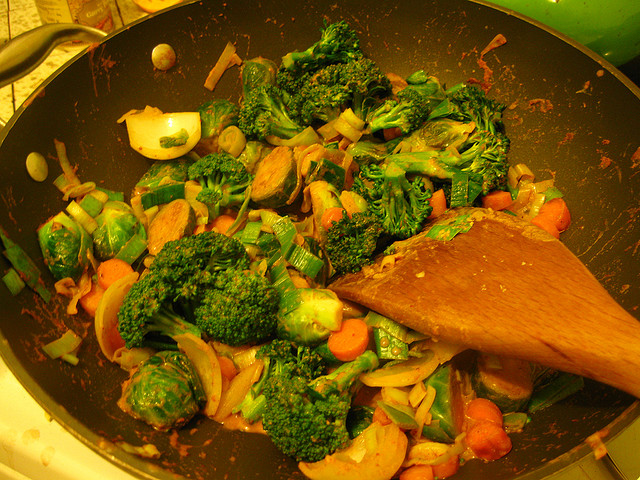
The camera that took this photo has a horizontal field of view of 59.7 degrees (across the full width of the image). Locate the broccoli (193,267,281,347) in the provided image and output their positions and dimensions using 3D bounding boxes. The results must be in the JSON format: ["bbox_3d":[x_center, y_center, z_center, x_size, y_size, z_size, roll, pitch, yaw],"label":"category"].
[{"bbox_3d":[-0.394,0.300,2.540,0.317,0.125,0.357,-1,95,-6],"label":"broccoli"}]

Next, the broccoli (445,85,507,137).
[{"bbox_3d":[0.797,-0.667,2.886,0.253,0.152,0.264,-32,89,10],"label":"broccoli"}]

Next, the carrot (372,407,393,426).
[{"bbox_3d":[0.274,0.779,2.486,0.064,0.015,0.067,-8,76,29],"label":"carrot"}]

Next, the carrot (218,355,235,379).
[{"bbox_3d":[-0.434,0.577,2.585,0.053,0.074,0.096,-39,88,10],"label":"carrot"}]

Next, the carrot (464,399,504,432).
[{"bbox_3d":[0.719,0.777,2.493,0.132,0.075,0.141,-19,68,-6],"label":"carrot"}]

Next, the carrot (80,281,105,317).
[{"bbox_3d":[-1.098,0.276,2.721,0.137,0.143,0.070,-14,102,7],"label":"carrot"}]

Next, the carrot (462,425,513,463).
[{"bbox_3d":[0.704,0.869,2.375,0.168,0.128,0.101,32,40,-16],"label":"carrot"}]

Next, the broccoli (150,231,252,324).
[{"bbox_3d":[-0.553,0.121,2.772,0.383,0.462,0.475,-39,98,-5],"label":"broccoli"}]

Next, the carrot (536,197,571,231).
[{"bbox_3d":[1.169,-0.146,2.828,0.129,0.091,0.165,1,73,3],"label":"carrot"}]

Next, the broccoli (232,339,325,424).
[{"bbox_3d":[-0.225,0.612,2.595,0.316,0.181,0.410,45,72,-21],"label":"broccoli"}]

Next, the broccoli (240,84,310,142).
[{"bbox_3d":[-0.244,-0.651,2.961,0.326,0.181,0.272,28,65,14],"label":"broccoli"}]

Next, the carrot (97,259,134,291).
[{"bbox_3d":[-0.989,0.144,2.716,0.141,0.081,0.144,-20,54,-19],"label":"carrot"}]

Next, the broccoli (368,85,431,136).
[{"bbox_3d":[0.409,-0.630,2.936,0.266,0.155,0.222,-25,35,13],"label":"broccoli"}]

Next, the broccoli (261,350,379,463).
[{"bbox_3d":[-0.022,0.726,2.485,0.429,0.236,0.350,-41,95,-27],"label":"broccoli"}]

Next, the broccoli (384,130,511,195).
[{"bbox_3d":[0.675,-0.389,2.877,0.495,0.324,0.248,2,71,8],"label":"broccoli"}]

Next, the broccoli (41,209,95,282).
[{"bbox_3d":[-1.191,0.021,2.642,0.237,0.142,0.313,-17,85,-28],"label":"broccoli"}]

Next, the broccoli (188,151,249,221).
[{"bbox_3d":[-0.584,-0.322,2.935,0.231,0.203,0.268,-15,100,-3],"label":"broccoli"}]

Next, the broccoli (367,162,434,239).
[{"bbox_3d":[0.389,-0.211,2.700,0.272,0.085,0.354,-1,98,11],"label":"broccoli"}]

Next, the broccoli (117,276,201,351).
[{"bbox_3d":[-0.762,0.318,2.555,0.379,0.195,0.302,-9,81,1],"label":"broccoli"}]

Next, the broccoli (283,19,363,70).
[{"bbox_3d":[0.008,-1.015,2.970,0.375,0.274,0.208,-17,119,6],"label":"broccoli"}]

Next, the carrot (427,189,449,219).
[{"bbox_3d":[0.565,-0.179,2.726,0.061,0.115,0.110,2,108,40],"label":"carrot"}]

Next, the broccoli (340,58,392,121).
[{"bbox_3d":[0.214,-0.759,2.941,0.264,0.264,0.291,-8,85,-10],"label":"broccoli"}]

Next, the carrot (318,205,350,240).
[{"bbox_3d":[0.068,-0.099,2.729,0.129,0.091,0.164,-18,40,14],"label":"carrot"}]
